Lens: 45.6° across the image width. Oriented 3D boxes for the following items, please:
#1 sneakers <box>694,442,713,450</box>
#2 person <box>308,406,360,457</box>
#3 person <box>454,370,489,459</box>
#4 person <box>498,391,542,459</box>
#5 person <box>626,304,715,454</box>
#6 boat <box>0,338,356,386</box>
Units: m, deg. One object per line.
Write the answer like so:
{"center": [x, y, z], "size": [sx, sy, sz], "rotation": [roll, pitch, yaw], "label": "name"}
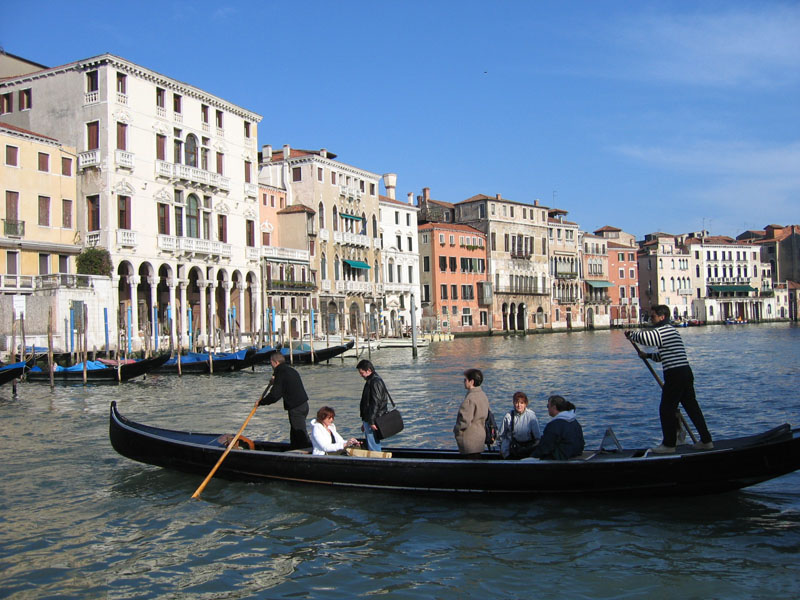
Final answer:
{"center": [4.771, 2.313, 14.974], "size": [0.263, 0.116, 0.102], "rotation": [0, -2, 13], "label": "sneakers"}
{"center": [-1.164, 2.386, 16.436], "size": [0.880, 0.962, 0.688], "rotation": [7, -2, -5], "label": "person"}
{"center": [1.174, 1.844, 15.567], "size": [0.539, 1.499, 1.063], "rotation": [-1, 3, 4], "label": "person"}
{"center": [1.969, 2.054, 15.692], "size": [0.716, 0.987, 0.670], "rotation": [-3, 7, 0], "label": "person"}
{"center": [4.344, 1.245, 15.173], "size": [1.181, 2.363, 1.563], "rotation": [0, 3, 17], "label": "person"}
{"center": [-9.375, 2.543, 38.262], "size": [9.347, 1.199, 1.268], "rotation": [5, -9, -34], "label": "boat"}
